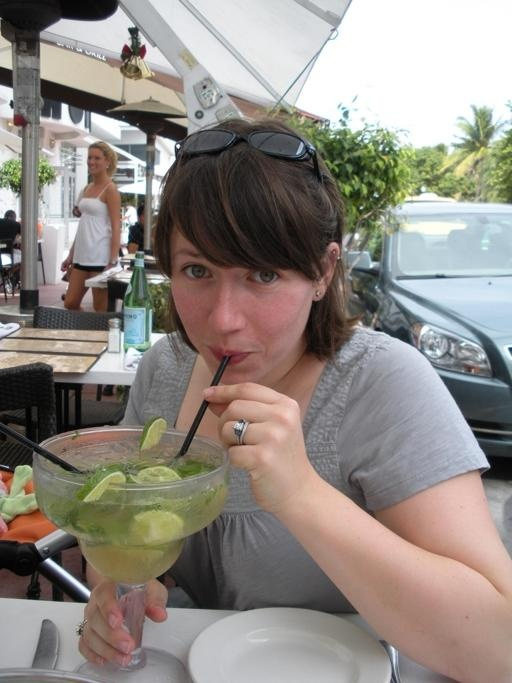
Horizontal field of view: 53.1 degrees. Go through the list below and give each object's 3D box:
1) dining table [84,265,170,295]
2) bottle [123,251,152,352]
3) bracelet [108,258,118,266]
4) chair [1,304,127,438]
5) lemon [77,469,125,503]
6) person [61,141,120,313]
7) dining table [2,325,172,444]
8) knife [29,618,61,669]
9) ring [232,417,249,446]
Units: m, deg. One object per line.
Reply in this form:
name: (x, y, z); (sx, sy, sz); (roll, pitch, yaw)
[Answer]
dining table: (-1.290, -0.432, 5.167); (0.583, 0.235, 0.822); (7, 28, 6)
bottle: (-0.645, -0.225, 2.865); (0.191, 0.496, 0.185); (3, 9, 0)
bracelet: (-1.811, -0.989, 6.497); (0.098, 0.032, 0.087); (3, -29, 3)
chair: (-1.164, 0.160, 3.307); (0.825, 0.947, 0.683); (1, 12, -16)
lemon: (-0.172, 0.164, 0.577); (0.052, 0.033, 0.042); (-1, 9, -14)
person: (-2.009, -1.400, 6.320); (0.594, 2.276, 0.646); (-3, 15, -29)
dining table: (-0.920, 0.159, 2.701); (0.997, 0.594, 0.615); (1, 8, 1)
knife: (-0.301, 0.420, 0.718); (0.019, 0.004, 0.091); (5, 0, -16)
ring: (-0.022, 0.121, 0.694); (0.021, 0.029, 0.033); (6, -20, 25)
